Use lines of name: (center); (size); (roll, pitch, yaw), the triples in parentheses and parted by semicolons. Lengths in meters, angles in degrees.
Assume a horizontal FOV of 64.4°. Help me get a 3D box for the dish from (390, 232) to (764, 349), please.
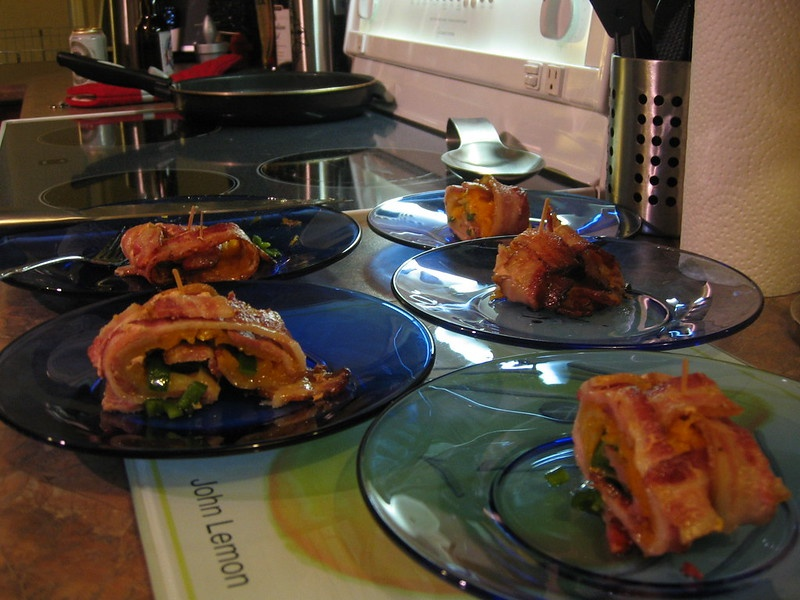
dish: (0.196, -0.011, 0.741); (0.393, 0.064, 0.323); (8, 21, 22)

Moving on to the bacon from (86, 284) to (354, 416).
bacon: (-0.179, 0.051, 0.613); (0.186, 0.051, 0.168); (-9, 20, -33)

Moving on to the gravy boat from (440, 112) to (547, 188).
gravy boat: (0.167, -0.298, 1.239); (0.186, 0.059, 0.232); (-8, 26, -17)

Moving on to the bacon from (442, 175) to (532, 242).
bacon: (0.134, -0.149, 0.990); (0.141, 0.062, 0.101); (14, 27, 20)

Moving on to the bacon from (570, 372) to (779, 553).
bacon: (0.188, 0.121, 0.510); (0.138, 0.060, 0.139); (-13, 36, -12)

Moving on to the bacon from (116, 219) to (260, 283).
bacon: (-0.281, -0.065, 0.856); (0.193, 0.073, 0.119); (-3, 22, -8)

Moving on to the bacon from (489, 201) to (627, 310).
bacon: (0.149, -0.051, 0.846); (0.199, 0.071, 0.213); (3, -19, -23)
